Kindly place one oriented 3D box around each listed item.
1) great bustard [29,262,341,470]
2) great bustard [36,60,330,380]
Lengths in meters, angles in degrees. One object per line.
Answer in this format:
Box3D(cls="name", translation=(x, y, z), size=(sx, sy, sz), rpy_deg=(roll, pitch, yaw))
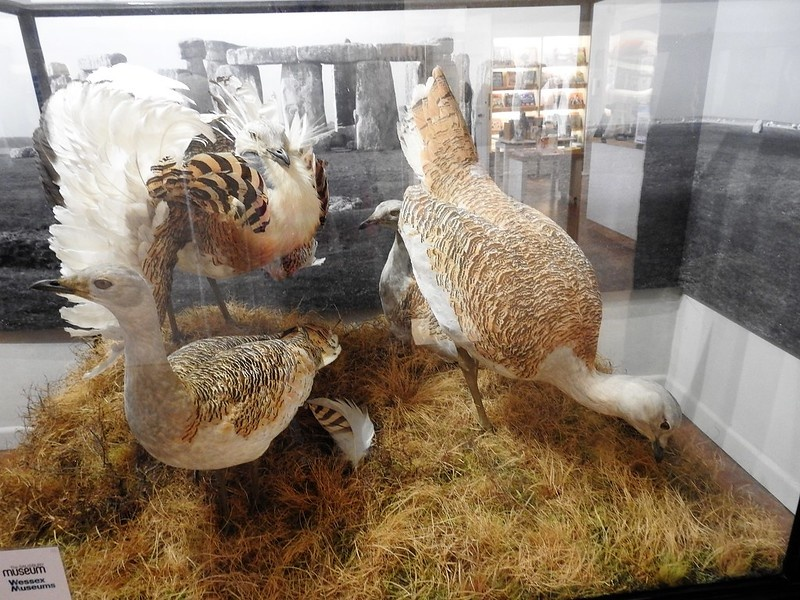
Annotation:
Box3D(cls="great bustard", translation=(-0.439, 0.146, 1.477), size=(0.279, 0.579, 0.764), rpy_deg=(6, 18, 36))
Box3D(cls="great bustard", translation=(-0.586, -0.223, 1.515), size=(0.651, 0.539, 0.721), rpy_deg=(-32, 78, -33))
